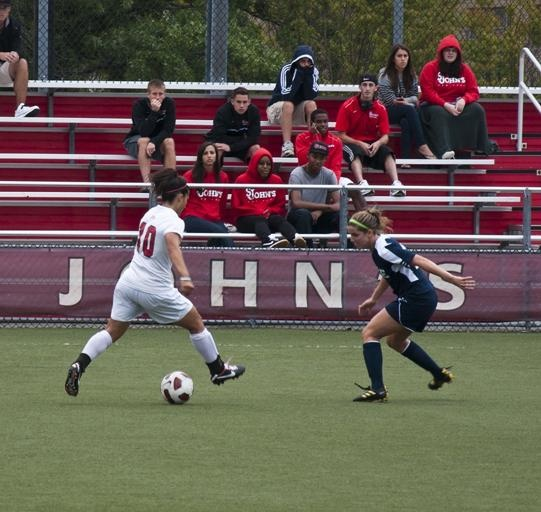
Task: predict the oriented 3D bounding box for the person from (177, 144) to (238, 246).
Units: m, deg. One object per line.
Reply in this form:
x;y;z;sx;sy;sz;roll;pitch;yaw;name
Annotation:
-0.756;-0.653;18.793;0.708;1.556;0.939;3;1;-26;person

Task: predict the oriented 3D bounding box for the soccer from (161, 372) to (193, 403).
-0.842;1.202;14.052;0.285;0.279;0.191;-1;5;-11;soccer

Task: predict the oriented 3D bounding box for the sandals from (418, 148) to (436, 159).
2.126;-1.409;20.942;0.244;0.107;0.064;36;3;10;sandals

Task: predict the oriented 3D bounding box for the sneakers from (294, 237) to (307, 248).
0.372;-0.176;18.499;0.153;0.131;0.152;-1;5;-9;sneakers

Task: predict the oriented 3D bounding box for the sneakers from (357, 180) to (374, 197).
1.198;-0.884;19.400;0.128;0.169;0.390;-35;-4;-1;sneakers

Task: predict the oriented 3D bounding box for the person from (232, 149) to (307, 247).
-0.017;-0.699;18.794;0.591;1.240;1.216;5;3;-26;person

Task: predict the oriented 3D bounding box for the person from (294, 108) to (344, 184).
0.677;-1.300;19.681;0.605;1.202;0.590;-11;-16;38;person

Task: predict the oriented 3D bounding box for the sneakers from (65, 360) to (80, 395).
-1.759;1.098;13.759;0.140;0.330;0.112;-3;1;0;sneakers

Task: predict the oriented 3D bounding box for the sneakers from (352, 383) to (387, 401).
0.906;1.258;14.203;0.365;0.207;0.134;3;-21;-2;sneakers

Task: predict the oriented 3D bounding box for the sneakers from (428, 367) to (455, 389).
1.613;1.166;14.538;0.298;0.149;0.154;-40;-4;-1;sneakers

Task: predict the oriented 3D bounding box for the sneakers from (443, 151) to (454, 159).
2.412;-1.386;20.907;0.155;0.115;0.229;1;5;4;sneakers
